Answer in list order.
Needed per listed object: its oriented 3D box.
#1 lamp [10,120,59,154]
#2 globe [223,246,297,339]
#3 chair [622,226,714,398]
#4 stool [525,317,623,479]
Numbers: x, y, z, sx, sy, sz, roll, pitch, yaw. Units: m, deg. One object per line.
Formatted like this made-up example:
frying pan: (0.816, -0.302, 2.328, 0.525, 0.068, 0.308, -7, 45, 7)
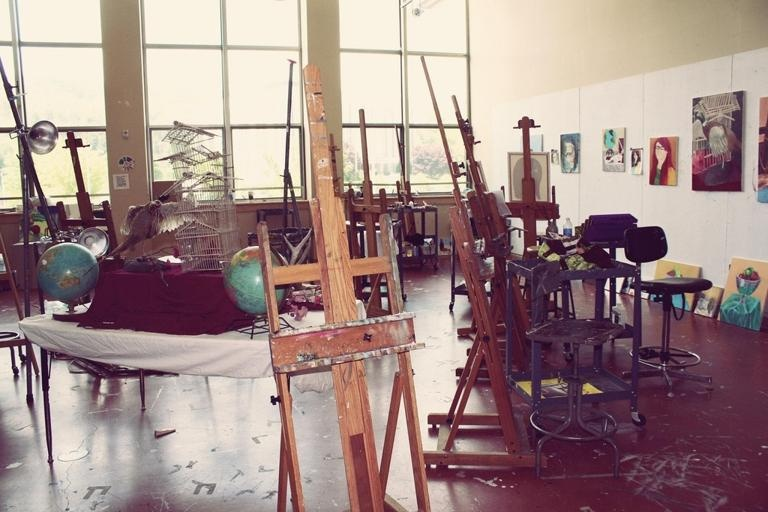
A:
lamp: (-3.491, -1.219, 6.522, 0.435, 0.277, 0.260, 5, 20, 42)
globe: (-0.891, 0.251, 4.646, 0.470, 0.648, 0.302, -1, 6, 23)
chair: (2.743, 0.480, 6.166, 0.833, 1.551, 0.839, -6, 9, -42)
stool: (1.496, 1.107, 5.177, 0.848, 1.158, 0.839, -2, 6, 1)
